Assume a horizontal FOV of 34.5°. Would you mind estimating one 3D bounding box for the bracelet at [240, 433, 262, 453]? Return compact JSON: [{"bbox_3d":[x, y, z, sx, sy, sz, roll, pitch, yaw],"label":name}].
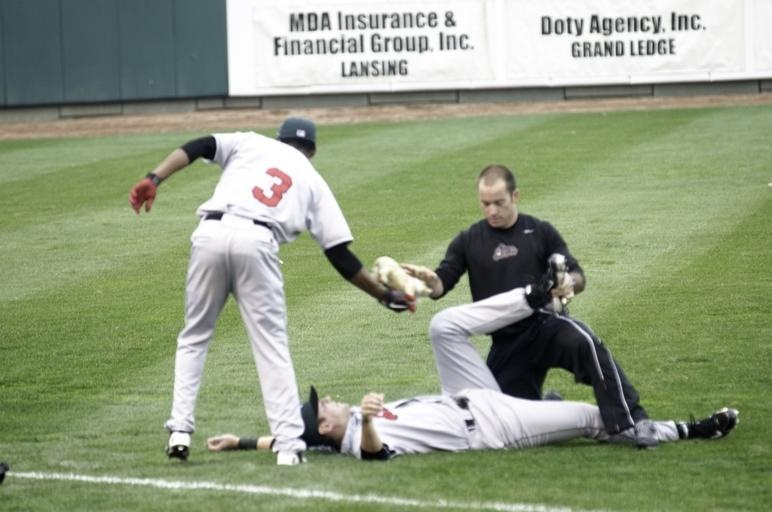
[{"bbox_3d":[-1.550,2.100,14.003,0.166,0.127,0.152,-2,-2,2],"label":"bracelet"}]
